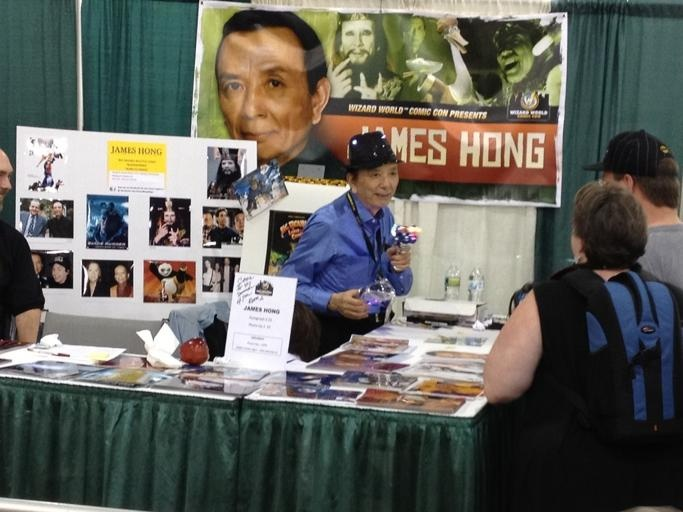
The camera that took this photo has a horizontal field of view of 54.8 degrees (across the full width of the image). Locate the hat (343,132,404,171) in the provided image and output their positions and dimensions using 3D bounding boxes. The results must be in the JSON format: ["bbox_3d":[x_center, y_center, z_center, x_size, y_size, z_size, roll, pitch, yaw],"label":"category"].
[{"bbox_3d":[0.128,-0.537,3.423,0.194,0.132,0.234,-17,-4,-21],"label":"hat"}]

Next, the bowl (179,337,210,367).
[{"bbox_3d":[-0.580,0.382,2.647,0.108,0.099,0.088,-12,-7,25],"label":"bowl"}]

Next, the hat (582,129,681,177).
[{"bbox_3d":[1.278,-0.459,2.926,0.246,0.213,0.390,1,8,-15],"label":"hat"}]

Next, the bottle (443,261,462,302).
[{"bbox_3d":[0.812,0.184,4.836,0.124,0.245,0.336,0,2,9],"label":"bottle"}]
